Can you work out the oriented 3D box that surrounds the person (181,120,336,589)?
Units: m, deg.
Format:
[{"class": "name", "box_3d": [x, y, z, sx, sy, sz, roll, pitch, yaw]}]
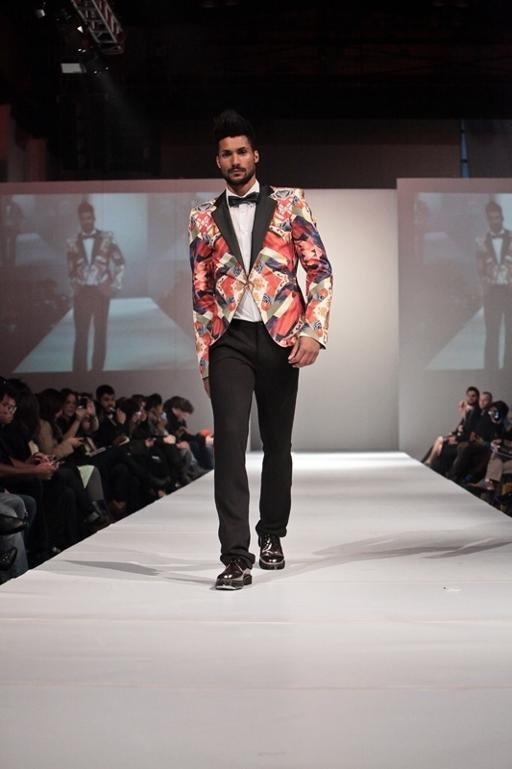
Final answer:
[{"class": "person", "box_3d": [0.007, -0.088, 1.703, 0.313, 1.130, 0.329, 4, 1, -25]}]

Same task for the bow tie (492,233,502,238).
[{"class": "bow tie", "box_3d": [1.886, -1.164, 5.376, 0.078, 0.026, 0.011, 4, 0, 33]}]

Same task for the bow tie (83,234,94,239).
[{"class": "bow tie", "box_3d": [-1.088, -0.960, 4.438, 0.011, 0.030, 0.095, 5, 1, 15]}]
